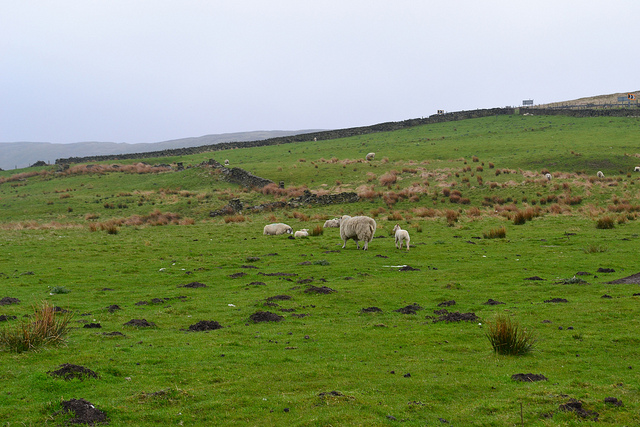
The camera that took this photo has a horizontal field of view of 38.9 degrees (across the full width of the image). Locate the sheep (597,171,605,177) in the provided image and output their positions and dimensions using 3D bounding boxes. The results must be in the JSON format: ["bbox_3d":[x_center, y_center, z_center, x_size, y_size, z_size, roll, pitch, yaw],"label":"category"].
[{"bbox_3d":[25.861,-3.628,83.848,0.321,0.525,1.040,-4,13,22],"label":"sheep"}]

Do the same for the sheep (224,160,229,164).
[{"bbox_3d":[-12.123,-6.654,117.086,0.639,0.525,0.467,-11,12,4],"label":"sheep"}]

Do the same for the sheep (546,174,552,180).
[{"bbox_3d":[20.743,-3.295,82.689,0.636,0.613,1.322,-3,1,18],"label":"sheep"}]

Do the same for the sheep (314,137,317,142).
[{"bbox_3d":[-0.750,-11.638,143.066,0.388,0.347,0.367,0,-7,0],"label":"sheep"}]

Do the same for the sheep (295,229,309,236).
[{"bbox_3d":[-1.323,1.475,66.413,0.864,0.387,1.307,3,12,19],"label":"sheep"}]

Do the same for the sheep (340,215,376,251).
[{"bbox_3d":[2.369,1.289,62.355,1.876,2.165,3.548,5,-3,-32],"label":"sheep"}]

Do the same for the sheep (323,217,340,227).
[{"bbox_3d":[0.878,0.726,69.445,0.655,0.704,1.615,-13,17,-42],"label":"sheep"}]
